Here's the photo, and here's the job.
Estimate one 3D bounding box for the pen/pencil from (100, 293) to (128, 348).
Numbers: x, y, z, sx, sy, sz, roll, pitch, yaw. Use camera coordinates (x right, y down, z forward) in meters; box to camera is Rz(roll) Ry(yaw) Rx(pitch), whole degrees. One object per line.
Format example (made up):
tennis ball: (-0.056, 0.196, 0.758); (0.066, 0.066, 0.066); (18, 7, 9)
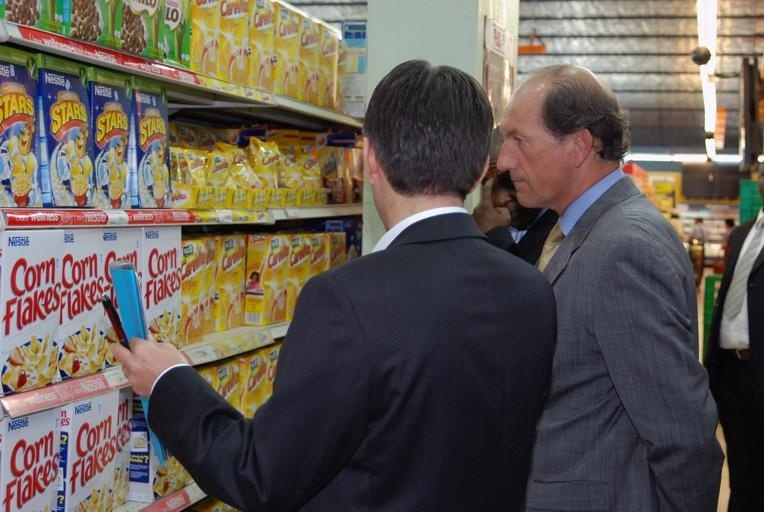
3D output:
pen/pencil: (-0.881, 0.205, 2.437); (0.028, 0.248, 0.027); (-10, -30, -26)
